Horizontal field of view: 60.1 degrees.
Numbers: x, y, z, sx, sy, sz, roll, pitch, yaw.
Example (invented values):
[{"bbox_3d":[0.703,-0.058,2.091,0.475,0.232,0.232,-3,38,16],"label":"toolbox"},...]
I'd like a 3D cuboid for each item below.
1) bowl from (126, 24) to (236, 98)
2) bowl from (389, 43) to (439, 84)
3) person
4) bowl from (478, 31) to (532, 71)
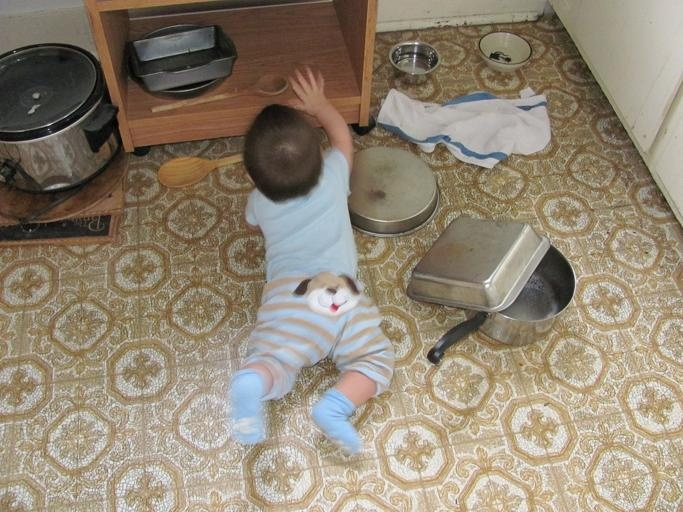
[{"bbox_3d":[-0.598,-0.735,2.189,0.394,0.143,0.312,-23,65,-13],"label":"bowl"},{"bbox_3d":[0.316,-0.839,2.538,0.214,0.098,0.208,1,62,-1],"label":"bowl"},{"bbox_3d":[-0.118,-0.020,1.864,0.438,0.439,1.154,-3,77,-9],"label":"person"},{"bbox_3d":[0.723,-0.910,2.625,0.198,0.081,0.207,-1,59,1],"label":"bowl"}]
